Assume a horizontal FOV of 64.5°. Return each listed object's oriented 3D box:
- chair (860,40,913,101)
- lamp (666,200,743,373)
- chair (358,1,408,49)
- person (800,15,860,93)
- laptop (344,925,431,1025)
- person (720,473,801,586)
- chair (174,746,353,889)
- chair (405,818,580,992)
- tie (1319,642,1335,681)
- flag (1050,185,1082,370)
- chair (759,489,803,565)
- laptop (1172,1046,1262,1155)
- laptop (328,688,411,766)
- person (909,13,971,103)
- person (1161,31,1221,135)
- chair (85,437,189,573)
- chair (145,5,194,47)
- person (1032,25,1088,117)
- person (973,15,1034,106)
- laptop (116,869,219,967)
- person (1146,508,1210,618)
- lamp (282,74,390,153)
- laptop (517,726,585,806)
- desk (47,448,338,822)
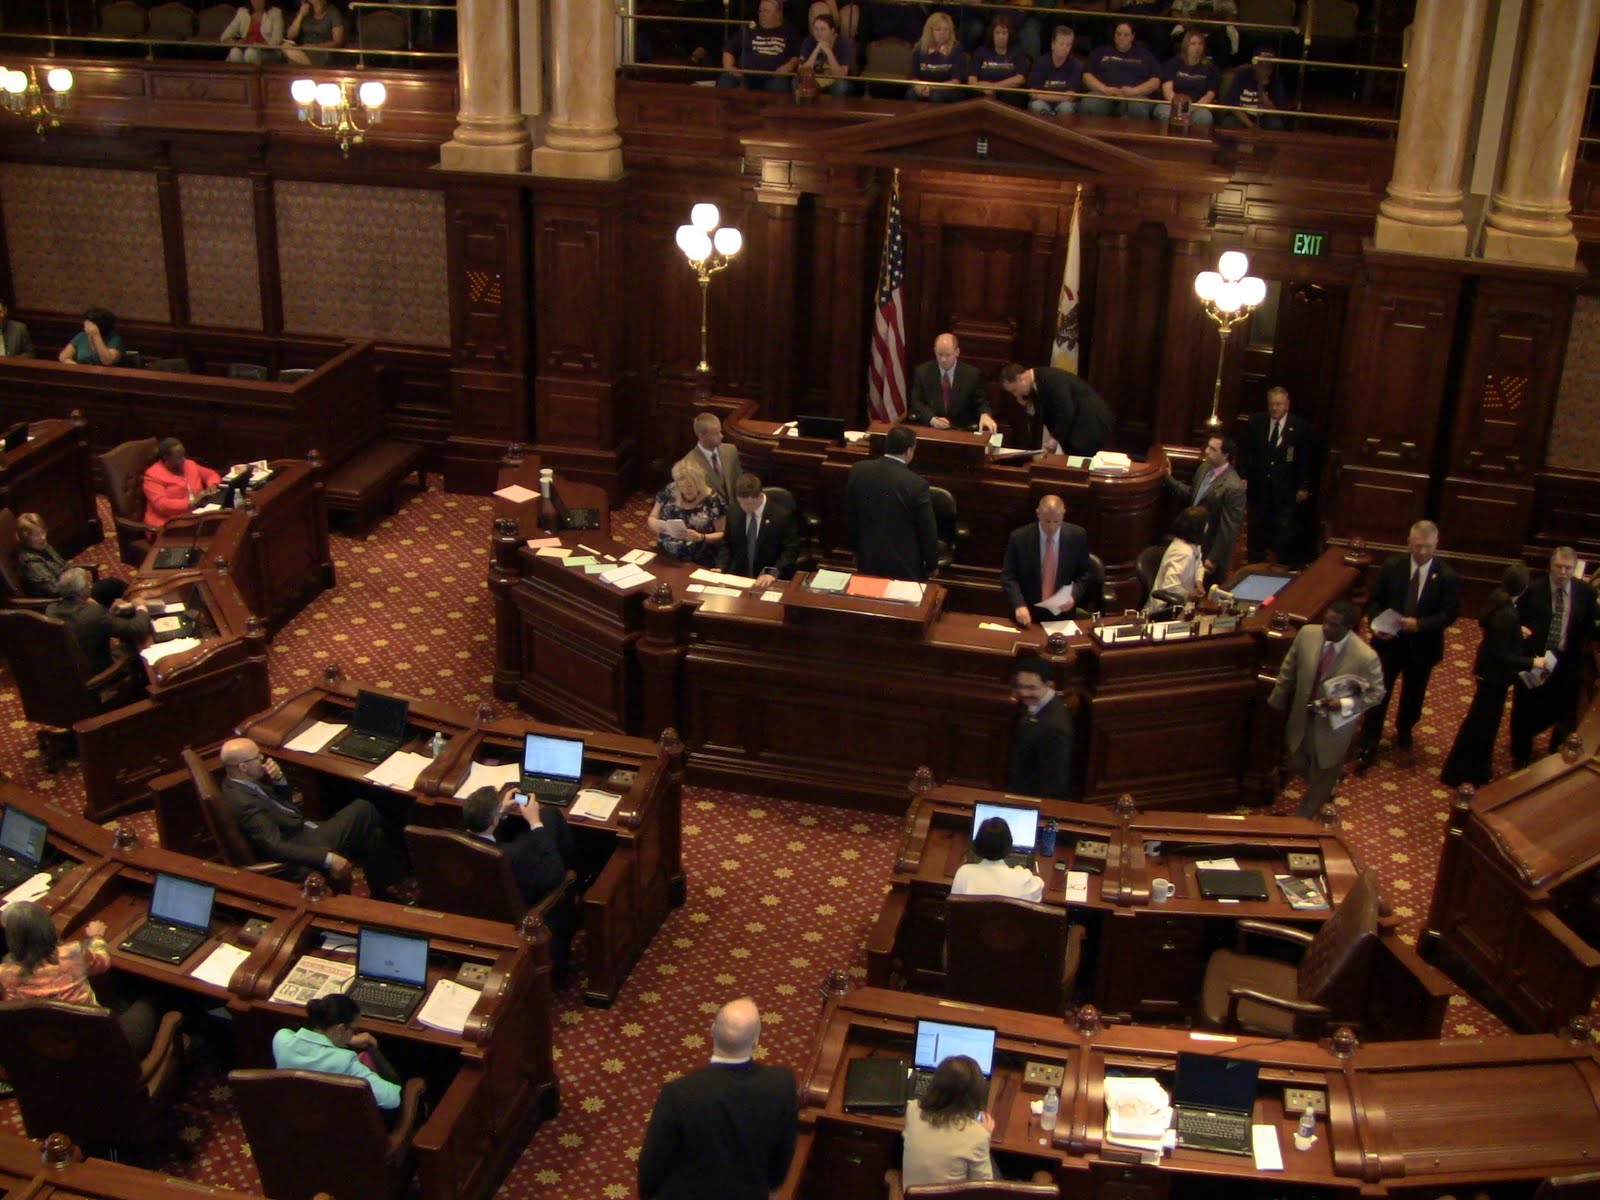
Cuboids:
[{"bbox_3d":[0.943,-5.761,13.644,0.540,0.636,0.639,4,18,1],"label":"chair"},{"bbox_3d":[-0.940,-3.240,13.316,0.724,1.826,1.390,1,18,-5],"label":"lamp"},{"bbox_3d":[-4.775,-6.620,14.636,0.561,0.454,0.740,-1,18,-14],"label":"chair"},{"bbox_3d":[0.291,-5.692,13.167,0.538,0.839,1.055,3,18,-1],"label":"person"},{"bbox_3d":[-2.189,1.981,6.844,0.457,0.394,0.343,8,7,9],"label":"laptop"},{"bbox_3d":[-0.345,-0.553,10.402,0.625,1.115,0.676,8,57,6],"label":"person"},{"bbox_3d":[-3.395,1.387,8.020,0.657,0.850,0.594,-14,31,-26],"label":"chair"},{"bbox_3d":[-1.771,1.750,7.310,0.665,1.197,0.708,13,35,15],"label":"chair"},{"bbox_3d":[3.726,0.422,8.930,0.120,0.219,0.058,3,18,0],"label":"tie"},{"bbox_3d":[2.784,-3.258,12.839,0.320,1.804,0.692,6,18,9],"label":"flag"},{"bbox_3d":[-0.161,-0.617,10.536,0.447,0.636,0.581,0,59,-3],"label":"chair"},{"bbox_3d":[1.989,2.417,6.096,0.445,0.345,0.402,3,53,10],"label":"laptop"},{"bbox_3d":[-2.886,0.872,8.667,0.495,0.346,0.473,18,36,17],"label":"laptop"},{"bbox_3d":[1.472,-5.693,13.152,0.606,0.957,1.324,4,18,3],"label":"person"},{"bbox_3d":[3.947,-5.276,12.750,0.563,1.066,1.479,7,18,14],"label":"person"},{"bbox_3d":[-6.312,-0.894,12.152,0.839,1.295,0.773,35,41,17],"label":"chair"},{"bbox_3d":[-7.694,-7.124,15.524,0.565,0.435,0.437,0,18,-11],"label":"chair"},{"bbox_3d":[2.646,-5.443,12.993,0.512,0.912,0.779,6,18,9],"label":"person"},{"bbox_3d":[2.091,-5.607,13.117,0.585,0.851,1.215,6,18,8],"label":"person"},{"bbox_3d":[-3.514,1.808,7.164,0.442,0.452,0.290,13,1,16],"label":"laptop"},{"bbox_3d":[3.028,-0.279,10.128,0.325,1.013,0.423,3,46,10],"label":"person"},{"bbox_3d":[-5.027,-5.386,13.904,0.727,0.847,0.627,3,36,-1],"label":"lamp"},{"bbox_3d":[-1.635,1.090,8.404,0.487,0.375,0.395,11,29,8],"label":"laptop"},{"bbox_3d":[-4.848,0.309,10.235,1.072,1.033,3.070,6,36,-1],"label":"desk"}]
